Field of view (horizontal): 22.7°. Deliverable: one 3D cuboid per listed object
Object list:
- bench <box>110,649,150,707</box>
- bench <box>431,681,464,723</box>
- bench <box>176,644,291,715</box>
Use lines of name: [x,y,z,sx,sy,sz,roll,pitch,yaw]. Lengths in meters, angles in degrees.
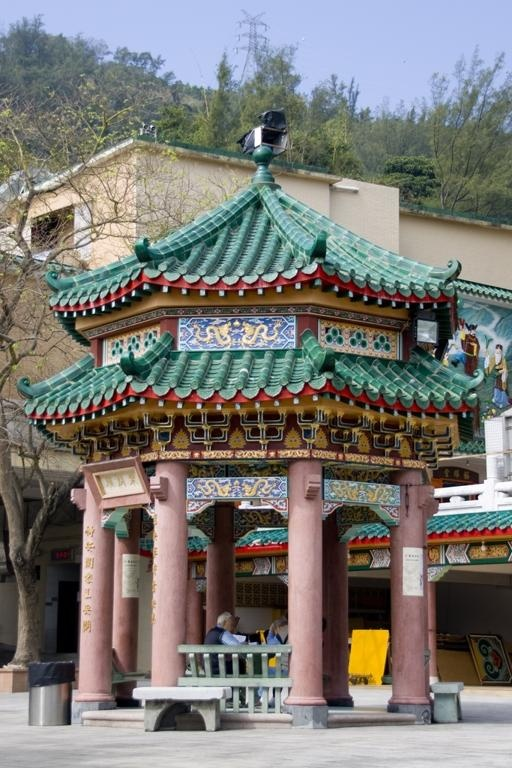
bench: [-1.786,4.031,17.266,0.683,0.655,0.559,7,-22,-10]
bench: [2.347,3.933,15.737,0.461,0.442,0.353,-9,2,-20]
bench: [-0.246,3.355,14.843,1.338,0.740,0.991,0,-13,10]
